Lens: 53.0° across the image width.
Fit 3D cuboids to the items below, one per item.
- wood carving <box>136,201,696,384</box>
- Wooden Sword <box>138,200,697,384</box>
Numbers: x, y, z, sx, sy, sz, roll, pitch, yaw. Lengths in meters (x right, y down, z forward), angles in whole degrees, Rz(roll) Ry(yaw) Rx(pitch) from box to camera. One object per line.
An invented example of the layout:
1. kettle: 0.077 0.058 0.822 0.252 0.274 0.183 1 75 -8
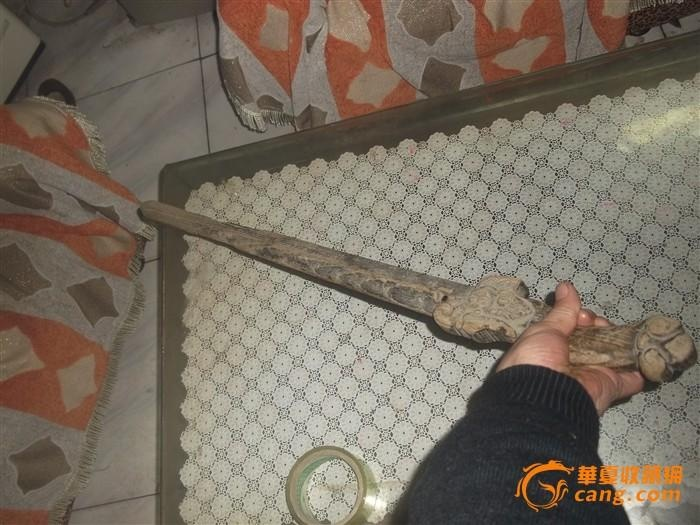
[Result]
1. wood carving: 0.245 0.091 2.113 1.461 0.123 0.250 16 49 25
2. Wooden Sword: 0.251 0.090 2.112 1.471 0.120 0.249 16 49 25
